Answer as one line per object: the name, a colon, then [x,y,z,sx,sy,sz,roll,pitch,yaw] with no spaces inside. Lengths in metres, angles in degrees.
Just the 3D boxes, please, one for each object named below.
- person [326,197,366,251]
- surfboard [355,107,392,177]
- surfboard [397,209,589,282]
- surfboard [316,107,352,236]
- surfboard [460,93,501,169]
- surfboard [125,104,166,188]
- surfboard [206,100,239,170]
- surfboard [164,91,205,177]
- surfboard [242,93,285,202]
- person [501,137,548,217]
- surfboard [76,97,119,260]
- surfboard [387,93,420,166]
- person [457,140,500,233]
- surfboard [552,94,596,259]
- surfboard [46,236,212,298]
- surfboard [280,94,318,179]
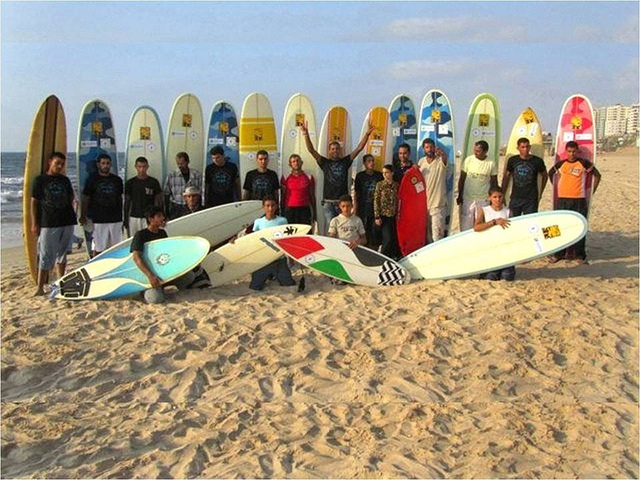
person: [0.355,-0.195,7.550,0.461,0.715,0.395,-4,10,-5]
surfboard: [0.861,-1.622,9.197,0.460,0.242,1.671,12,-9,3]
surfboard: [2.142,0.073,7.608,2.118,0.520,0.295,-18,-5,10]
surfboard: [0.202,-1.043,8.803,0.437,2.099,0.269,3,-4,-5]
surfboard: [2.482,-1.690,9.172,0.468,0.198,1.749,1,-19,12]
surfboard: [-2.612,-1.370,8.961,0.532,1.737,0.242,0,-37,-17]
surfboard: [-1.499,-1.656,9.289,0.470,0.950,0.292,0,13,5]
surfboard: [-2.070,-1.476,9.220,0.571,2.006,0.355,3,-40,-14]
surfboard: [-0.979,-1.441,9.425,0.616,0.313,2.623,-6,-24,-9]
person: [2.790,-0.633,8.210,0.641,1.576,0.323,0,23,19]
surfboard: [-3.380,-1.312,9.208,0.656,0.373,3.207,0,-12,-19]
surfboard: [1.330,-1.945,9.648,0.435,0.232,1.658,2,-5,8]
person: [2.148,-0.580,8.212,0.539,1.578,0.343,6,26,17]
surfboard: [3.433,-0.848,8.114,0.486,2.337,0.251,2,-3,28]
surfboard: [-2.217,0.316,7.066,1.789,0.622,0.407,-1,13,1]
surfboard: [-0.316,-1.582,9.338,0.554,0.222,2.047,0,-21,-4]
